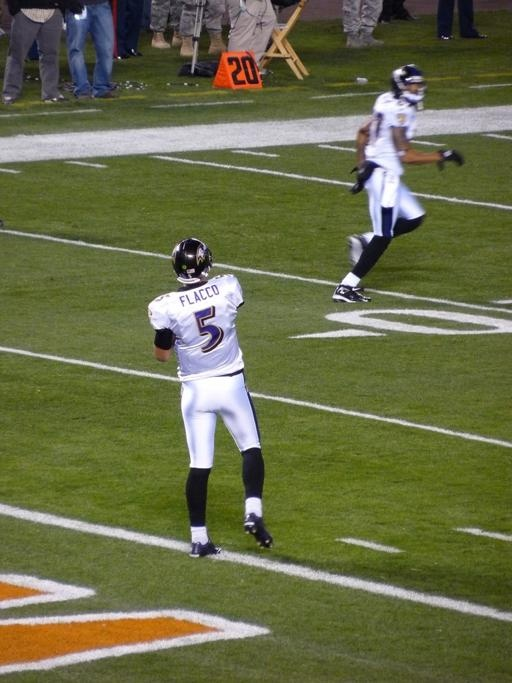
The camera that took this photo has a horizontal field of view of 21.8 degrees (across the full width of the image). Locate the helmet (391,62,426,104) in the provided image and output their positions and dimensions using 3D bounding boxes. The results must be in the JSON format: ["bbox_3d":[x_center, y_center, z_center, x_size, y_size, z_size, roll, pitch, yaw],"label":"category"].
[{"bbox_3d":[1.180,-1.952,10.043,0.331,0.301,0.241,10,35,15],"label":"helmet"}]

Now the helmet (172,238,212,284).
[{"bbox_3d":[-0.279,-0.350,5.886,0.163,0.194,0.188,2,14,-1],"label":"helmet"}]

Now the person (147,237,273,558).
[{"bbox_3d":[-0.189,0.256,5.895,0.559,1.375,0.452,1,14,-3],"label":"person"}]

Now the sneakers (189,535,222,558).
[{"bbox_3d":[-0.223,0.911,5.940,0.056,0.065,0.158,7,11,41],"label":"sneakers"}]

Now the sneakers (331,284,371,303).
[{"bbox_3d":[0.799,-0.383,10.461,0.379,0.154,0.118,1,34,-10],"label":"sneakers"}]

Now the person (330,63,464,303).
[{"bbox_3d":[1.067,-1.215,10.444,0.816,1.842,0.753,4,14,7],"label":"person"}]

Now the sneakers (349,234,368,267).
[{"bbox_3d":[0.851,-0.756,11.097,0.169,0.256,0.140,8,10,8],"label":"sneakers"}]
